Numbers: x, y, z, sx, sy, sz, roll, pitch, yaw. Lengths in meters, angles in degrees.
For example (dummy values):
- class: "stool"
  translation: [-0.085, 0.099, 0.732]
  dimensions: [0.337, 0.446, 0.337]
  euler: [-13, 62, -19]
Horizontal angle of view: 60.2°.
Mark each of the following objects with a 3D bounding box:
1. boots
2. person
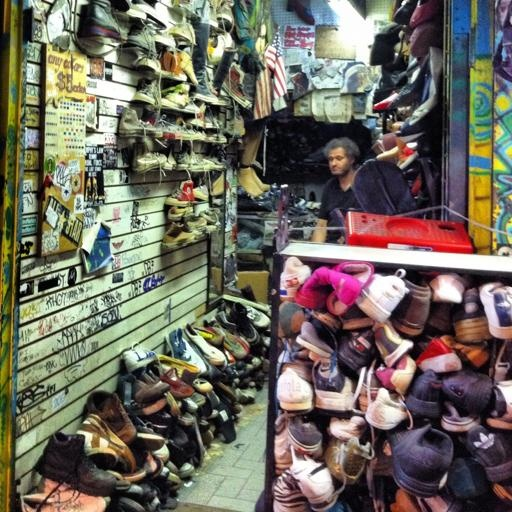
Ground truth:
- class: "boots"
  translation: [-0.775, 0.923, 1.934]
  dimensions: [0.284, 0.274, 0.122]
  euler: [2, 9, 8]
- class: "person"
  translation: [0.671, -0.576, 3.657]
  dimensions: [0.367, 0.903, 2.030]
  euler: [2, 10, 13]
